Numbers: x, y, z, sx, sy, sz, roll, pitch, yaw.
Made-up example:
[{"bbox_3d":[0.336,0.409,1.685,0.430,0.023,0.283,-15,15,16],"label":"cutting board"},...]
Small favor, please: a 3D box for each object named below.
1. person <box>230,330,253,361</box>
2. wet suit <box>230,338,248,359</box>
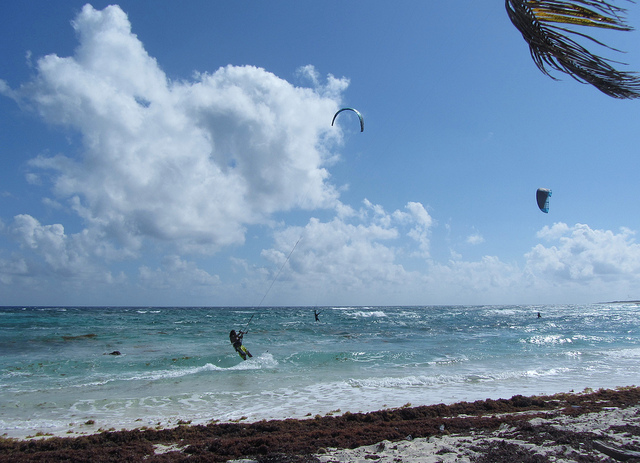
[{"bbox_3d":[-3.838,5.411,20.033,0.658,1.414,1.489,-1,-8,2],"label":"person"},{"bbox_3d":[-3.755,5.653,20.056,0.262,0.547,0.978,-24,-57,29],"label":"wet suit"}]
